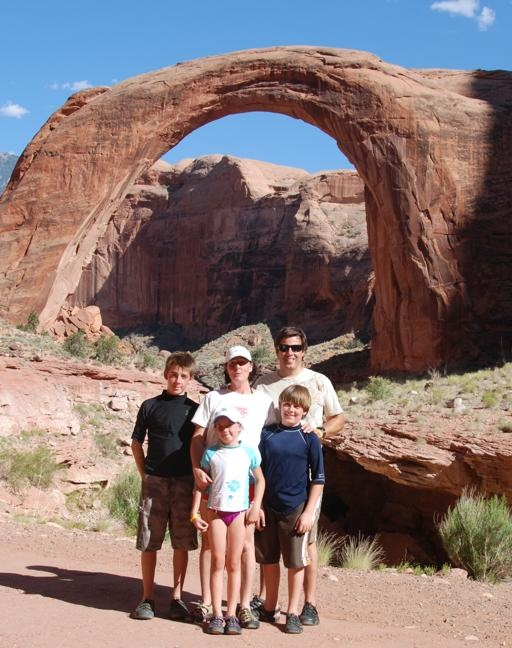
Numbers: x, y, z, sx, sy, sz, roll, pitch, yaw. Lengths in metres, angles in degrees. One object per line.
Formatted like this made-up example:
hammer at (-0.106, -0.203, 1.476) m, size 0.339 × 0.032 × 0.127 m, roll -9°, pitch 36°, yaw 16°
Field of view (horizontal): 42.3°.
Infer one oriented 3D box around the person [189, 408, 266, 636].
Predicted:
person at (-0.187, 1.185, 4.006) m, size 0.425 × 1.256 × 0.617 m, roll -8°, pitch 9°, yaw 12°

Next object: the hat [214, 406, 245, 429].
hat at (-0.167, 0.583, 4.130) m, size 0.172 × 0.113 × 0.255 m, roll -4°, pitch -7°, yaw -2°

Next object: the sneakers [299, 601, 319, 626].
sneakers at (0.331, 1.867, 4.251) m, size 0.156 × 0.147 × 0.402 m, roll -1°, pitch -20°, yaw 7°

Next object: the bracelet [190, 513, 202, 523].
bracelet at (-0.376, 1.207, 4.091) m, size 0.056 × 0.056 × 0.025 m, roll -11°, pitch -31°, yaw -2°

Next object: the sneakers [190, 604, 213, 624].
sneakers at (-0.374, 1.811, 4.146) m, size 0.164 × 0.097 × 0.060 m, roll -1°, pitch -11°, yaw 20°

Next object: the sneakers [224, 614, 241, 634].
sneakers at (-0.147, 1.761, 3.866) m, size 0.067 × 0.067 × 0.180 m, roll 1°, pitch -19°, yaw -6°

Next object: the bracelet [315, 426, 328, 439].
bracelet at (0.437, 0.725, 4.414) m, size 0.061 × 0.070 × 0.042 m, roll -6°, pitch -36°, yaw -9°

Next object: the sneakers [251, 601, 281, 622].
sneakers at (0.054, 1.882, 4.312) m, size 0.187 × 0.072 × 0.074 m, roll 4°, pitch -8°, yaw 13°

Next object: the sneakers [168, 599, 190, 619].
sneakers at (-0.487, 1.795, 4.149) m, size 0.125 × 0.104 × 0.119 m, roll -10°, pitch 8°, yaw -10°
